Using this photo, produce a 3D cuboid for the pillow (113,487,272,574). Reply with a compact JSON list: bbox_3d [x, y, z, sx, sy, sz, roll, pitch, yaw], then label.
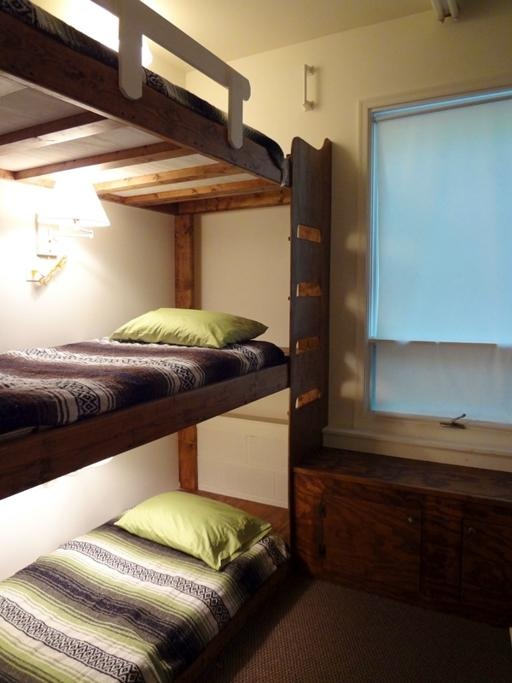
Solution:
[{"bbox_3d":[-0.322,0.843,2.512,0.430,0.111,0.320,8,11,34],"label":"pillow"}]
